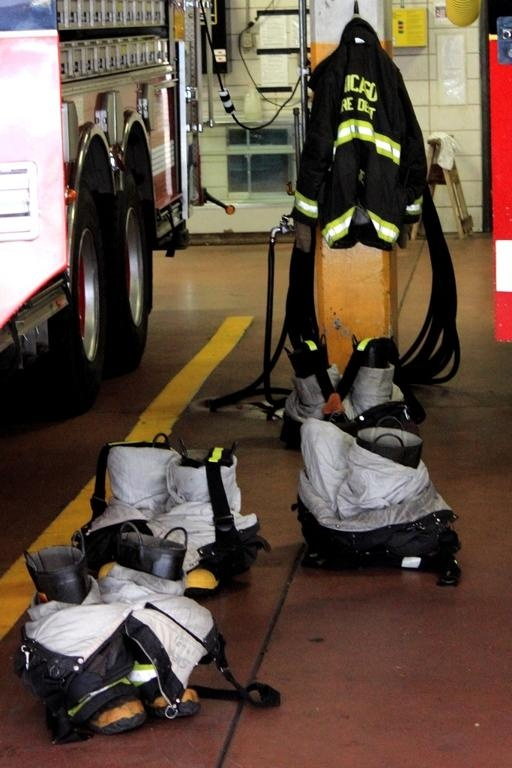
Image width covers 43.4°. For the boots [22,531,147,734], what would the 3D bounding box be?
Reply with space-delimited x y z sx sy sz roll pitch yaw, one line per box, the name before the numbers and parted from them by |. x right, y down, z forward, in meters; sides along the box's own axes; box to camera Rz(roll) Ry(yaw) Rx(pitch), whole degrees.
boots | -0.433 0.584 1.483 0.236 0.191 0.488 -9 35 -31

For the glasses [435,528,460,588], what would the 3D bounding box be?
glasses | 0.663 0.595 2.211 0.077 0.151 0.163 -1 4 17

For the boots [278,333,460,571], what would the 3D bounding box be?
boots | 0.478 0.230 2.699 0.535 0.418 1.029 2 23 9

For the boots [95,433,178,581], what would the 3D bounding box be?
boots | -0.404 0.407 2.510 0.356 0.458 0.428 2 -8 -6
